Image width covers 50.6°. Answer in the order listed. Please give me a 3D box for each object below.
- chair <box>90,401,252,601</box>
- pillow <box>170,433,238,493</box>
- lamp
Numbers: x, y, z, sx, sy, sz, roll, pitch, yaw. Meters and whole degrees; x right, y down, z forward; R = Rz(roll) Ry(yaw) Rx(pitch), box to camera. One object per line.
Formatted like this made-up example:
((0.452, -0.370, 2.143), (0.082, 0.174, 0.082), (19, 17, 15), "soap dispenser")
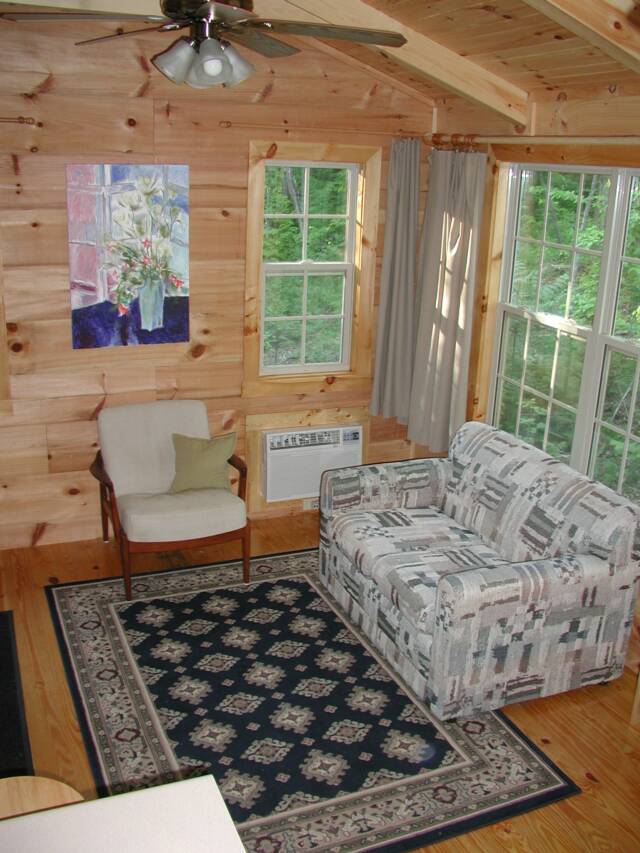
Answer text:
((-0.988, 0.418, 4.417), (0.943, 0.920, 0.964), (-4, 21, -21), "chair")
((-0.776, 0.248, 4.457), (0.448, 0.364, 0.162), (2, 6, -25), "pillow")
((-0.375, -1.173, 2.175), (0.276, 0.147, 0.321), (6, 18, 21), "lamp")
